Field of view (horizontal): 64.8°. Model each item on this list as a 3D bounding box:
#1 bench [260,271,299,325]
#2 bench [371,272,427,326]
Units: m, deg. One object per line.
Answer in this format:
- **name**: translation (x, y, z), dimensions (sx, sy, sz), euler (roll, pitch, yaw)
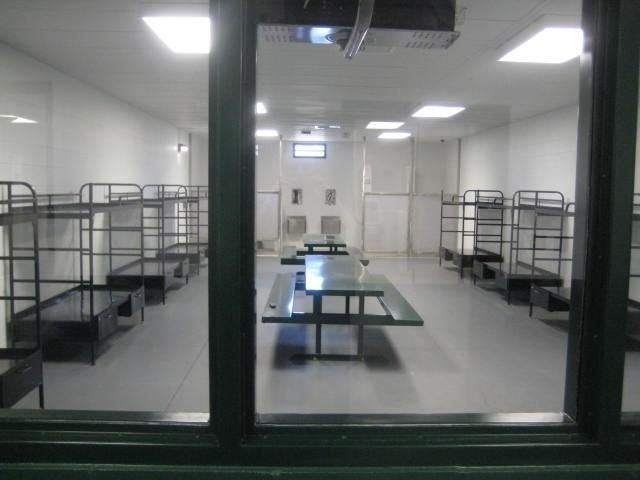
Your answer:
- **bench**: translation (-0.157, 0.241, 1.977), dimensions (0.102, 0.132, 0.350), euler (1, 6, 0)
- **bench**: translation (0.353, 0.257, 2.246), dimensions (0.188, 0.210, 0.368), euler (1, 6, 1)
